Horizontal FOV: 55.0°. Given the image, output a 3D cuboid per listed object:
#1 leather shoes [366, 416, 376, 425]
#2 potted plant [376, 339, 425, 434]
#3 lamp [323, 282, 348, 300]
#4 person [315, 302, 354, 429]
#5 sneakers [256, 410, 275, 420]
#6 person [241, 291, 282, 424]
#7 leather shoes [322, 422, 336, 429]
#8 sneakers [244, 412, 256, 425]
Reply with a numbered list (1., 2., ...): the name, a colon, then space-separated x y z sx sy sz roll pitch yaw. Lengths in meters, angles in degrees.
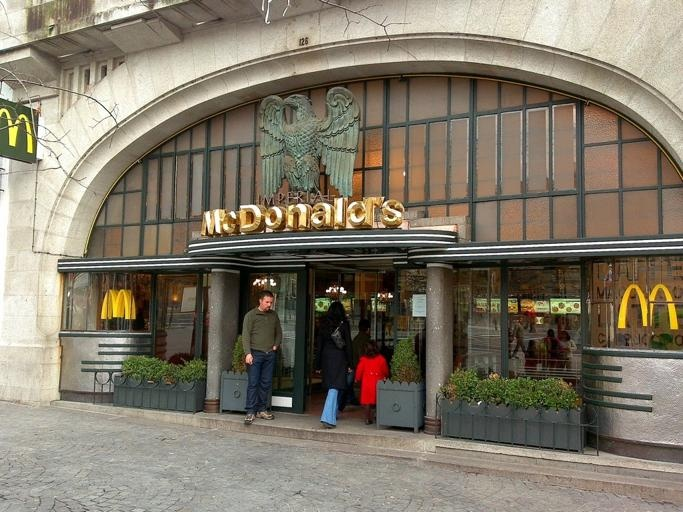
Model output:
1. leather shoes: 0.632 3.452 13.784 0.201 0.145 0.435 -3 -11 22
2. potted plant: 1.187 2.606 13.282 0.984 1.822 0.437 0 -10 6
3. lamp: -0.141 0.890 16.772 0.681 0.451 0.179 10 -13 -42
4. person: -0.148 2.203 13.615 0.712 2.484 0.493 1 -10 -2
5. sneakers: -1.668 3.459 14.167 0.435 0.201 0.153 -2 -9 14
6. person: -1.689 2.198 14.112 0.629 2.770 0.756 -3 -10 22
7. leather shoes: -0.269 3.429 13.298 0.304 0.121 0.260 -1 -10 9
8. sneakers: -1.951 3.451 13.929 0.226 0.238 0.342 2 -10 -8
